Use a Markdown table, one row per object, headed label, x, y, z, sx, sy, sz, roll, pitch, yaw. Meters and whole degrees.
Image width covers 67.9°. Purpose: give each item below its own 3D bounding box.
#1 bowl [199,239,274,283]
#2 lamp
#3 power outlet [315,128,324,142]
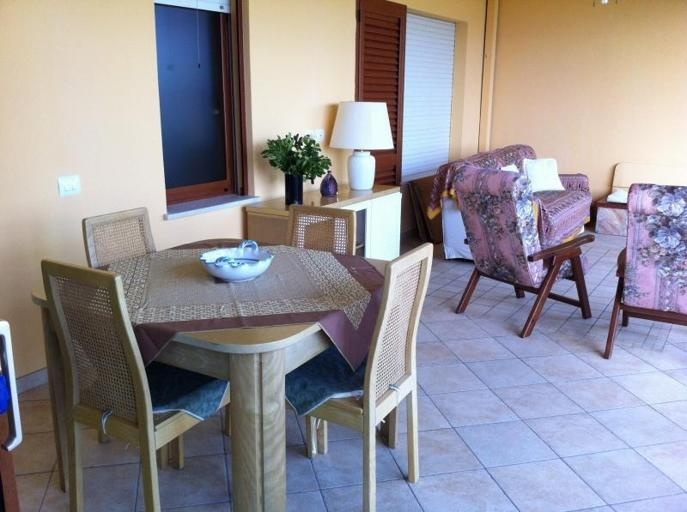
| label | x | y | z | sx | sy | sz | roll | pitch | yaw |
| --- | --- | --- | --- | --- | --- | --- | --- | --- | --- |
| bowl | -0.484 | 0.045 | 2.294 | 0.295 | 0.151 | 0.290 | 0 | 4 | 0 |
| lamp | 0.188 | -1.009 | 4.615 | 0.692 | 0.849 | 0.709 | 7 | 16 | 27 |
| power outlet | -0.223 | -1.087 | 4.559 | 0.026 | 0.102 | 0.106 | 9 | 11 | 25 |
